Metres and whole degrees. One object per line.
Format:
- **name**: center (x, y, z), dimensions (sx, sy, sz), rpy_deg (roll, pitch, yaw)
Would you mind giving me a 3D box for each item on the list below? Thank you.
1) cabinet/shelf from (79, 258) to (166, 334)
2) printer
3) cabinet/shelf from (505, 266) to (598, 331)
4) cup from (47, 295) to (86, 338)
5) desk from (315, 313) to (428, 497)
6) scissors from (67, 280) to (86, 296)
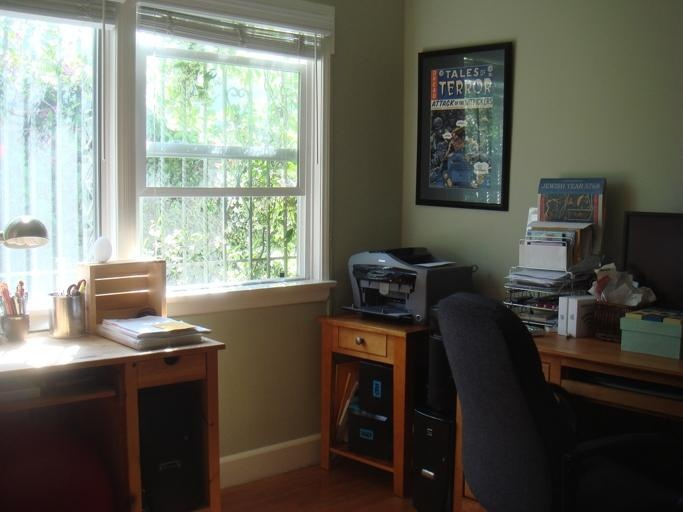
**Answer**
- **cabinet/shelf**: center (-1.068, 0.197, 2.713), dimensions (0.336, 0.316, 0.121), rpy_deg (1, 0, -34)
- **printer**: center (0.400, 0.134, 3.341), dimensions (0.433, 0.375, 0.580), rpy_deg (1, 4, 44)
- **cabinet/shelf**: center (1.142, 0.206, 3.113), dimensions (0.329, 0.429, 0.416), rpy_deg (0, 1, -40)
- **cup**: center (-1.248, 0.273, 2.558), dimensions (0.164, 0.204, 0.174), rpy_deg (1, 0, 0)
- **desk**: center (0.168, 0.858, 3.376), dimensions (0.627, 0.979, 0.288), rpy_deg (9, 12, 40)
- **scissors**: center (-1.245, 0.151, 2.648), dimensions (0.092, 0.093, 0.057), rpy_deg (12, -4, -40)
